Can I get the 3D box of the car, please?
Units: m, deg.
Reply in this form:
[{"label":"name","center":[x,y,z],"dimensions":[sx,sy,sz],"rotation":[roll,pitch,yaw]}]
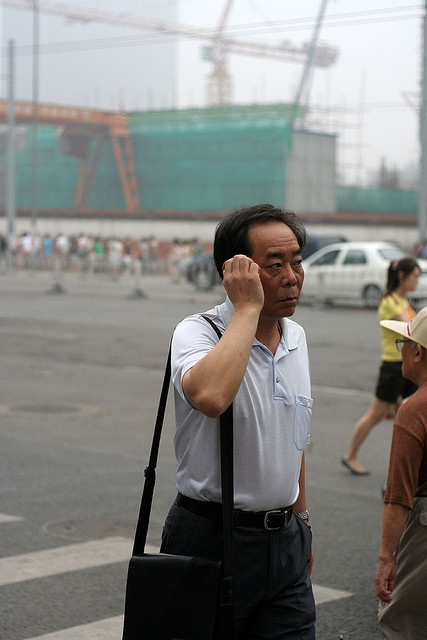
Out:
[{"label":"car","center":[2.412,-0.840,15.970],"dimensions":[1.043,0.867,2.445],"rotation":[-4,6,-31]}]
